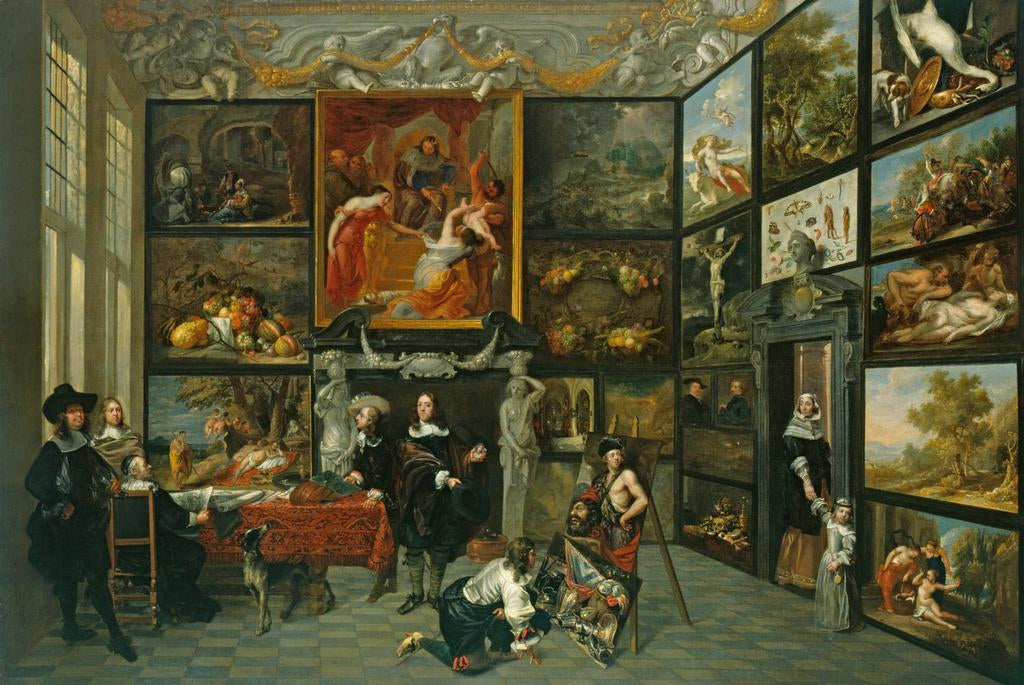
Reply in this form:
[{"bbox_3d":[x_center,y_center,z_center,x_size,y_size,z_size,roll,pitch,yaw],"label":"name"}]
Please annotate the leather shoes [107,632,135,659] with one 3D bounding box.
[{"bbox_3d":[-4.491,3.438,12.539,0.326,0.270,0.141,1,0,23],"label":"leather shoes"}]
